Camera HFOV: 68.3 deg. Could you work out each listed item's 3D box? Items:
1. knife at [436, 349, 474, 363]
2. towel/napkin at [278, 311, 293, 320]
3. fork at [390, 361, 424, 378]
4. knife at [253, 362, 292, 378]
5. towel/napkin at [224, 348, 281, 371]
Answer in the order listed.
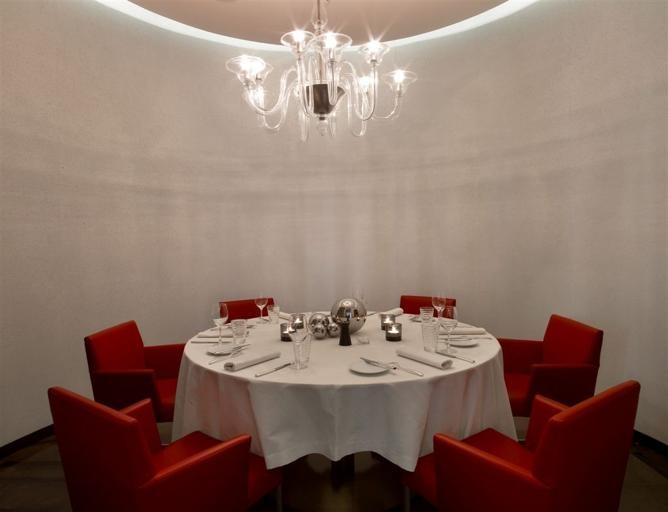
[{"bbox_3d":[0.809,0.668,3.305,0.074,0.019,0.292,-6,8,-26],"label":"knife"},{"bbox_3d":[-0.423,0.522,4.317,0.108,0.035,0.121,5,-1,-1],"label":"towel/napkin"},{"bbox_3d":[0.451,0.703,3.112,0.073,0.021,0.224,-8,5,-37],"label":"fork"},{"bbox_3d":[-0.391,0.730,3.137,0.033,0.036,0.247,-1,5,37],"label":"knife"},{"bbox_3d":[-0.518,0.684,3.242,0.112,0.075,0.491,-6,3,32],"label":"towel/napkin"}]
